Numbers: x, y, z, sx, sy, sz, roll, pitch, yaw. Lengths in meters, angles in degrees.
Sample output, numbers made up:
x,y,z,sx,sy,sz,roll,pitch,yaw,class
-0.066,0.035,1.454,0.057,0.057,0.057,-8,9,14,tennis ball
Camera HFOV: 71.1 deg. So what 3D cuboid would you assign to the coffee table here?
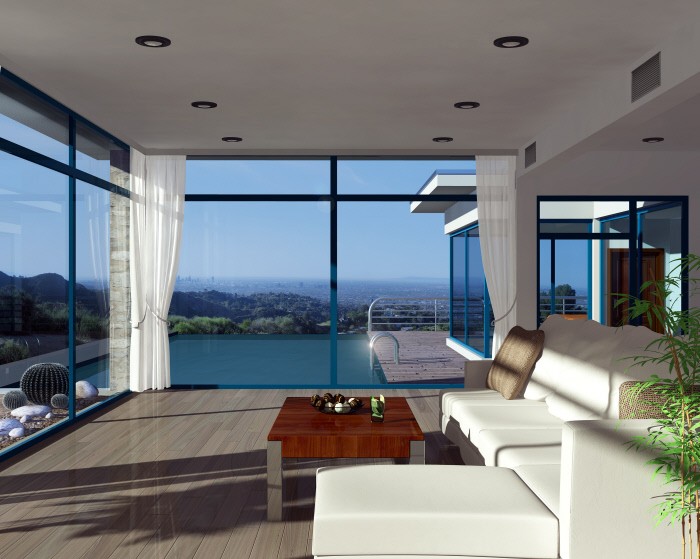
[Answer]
x,y,z,sx,sy,sz,roll,pitch,yaw,class
-0.083,1.214,3.129,0.609,0.342,0.872,0,-1,-1,coffee table
